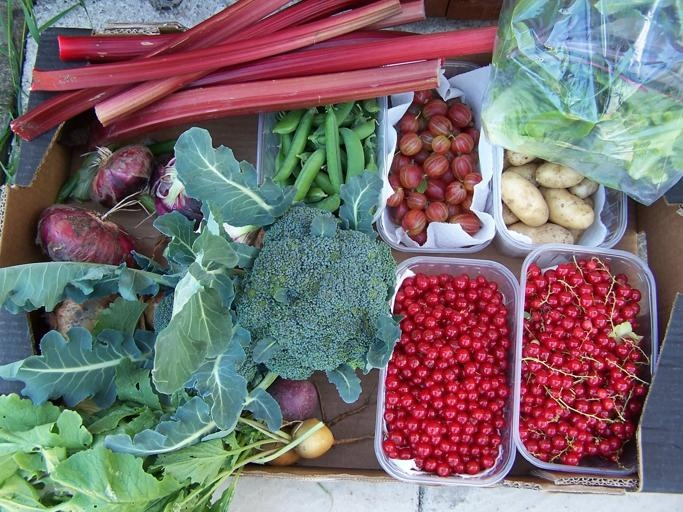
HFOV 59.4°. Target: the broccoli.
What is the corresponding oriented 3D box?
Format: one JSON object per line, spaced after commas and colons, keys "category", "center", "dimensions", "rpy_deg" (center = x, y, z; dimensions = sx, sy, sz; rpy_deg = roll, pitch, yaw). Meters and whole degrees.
{"category": "broccoli", "center": [-0.048, 0.147, 1.806], "dimensions": [0.405, 0.467, 0.477], "rpy_deg": [16, 79, 13]}
